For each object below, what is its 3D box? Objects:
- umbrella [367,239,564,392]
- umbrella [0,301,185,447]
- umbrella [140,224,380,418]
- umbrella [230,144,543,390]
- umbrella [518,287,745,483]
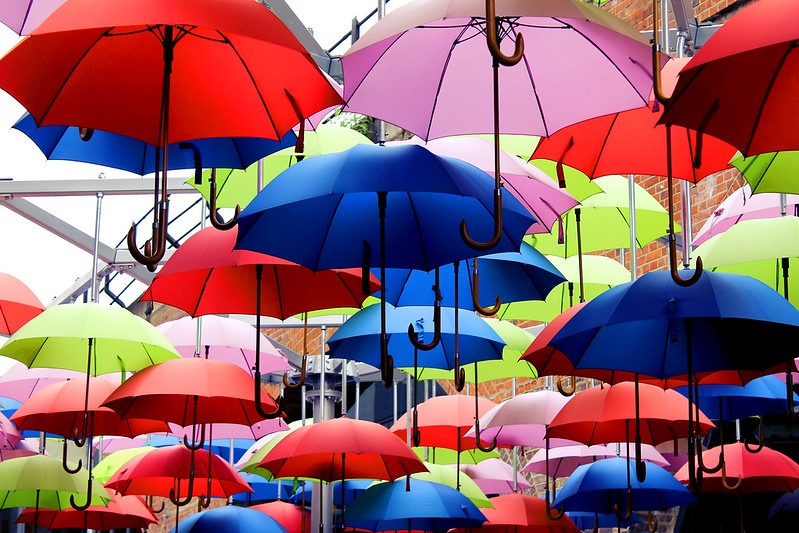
[{"bbox_3d":[0.463,0.186,6.334,0.779,0.610,0.815,10,-27,-24],"label":"umbrella"},{"bbox_3d":[-1.903,0.472,6.597,0.877,0.785,0.898,-22,-36,39],"label":"umbrella"},{"bbox_3d":[-0.832,0.309,6.071,0.747,0.750,0.786,-10,-6,33],"label":"umbrella"},{"bbox_3d":[-0.052,-0.120,5.238,1.210,1.087,1.205,6,-14,-37],"label":"umbrella"},{"bbox_3d":[1.291,0.738,5.623,1.042,0.972,1.118,-1,-22,21],"label":"umbrella"}]
